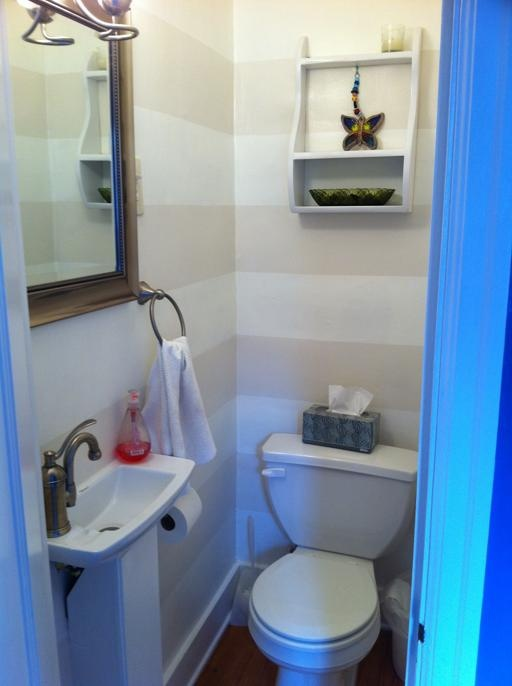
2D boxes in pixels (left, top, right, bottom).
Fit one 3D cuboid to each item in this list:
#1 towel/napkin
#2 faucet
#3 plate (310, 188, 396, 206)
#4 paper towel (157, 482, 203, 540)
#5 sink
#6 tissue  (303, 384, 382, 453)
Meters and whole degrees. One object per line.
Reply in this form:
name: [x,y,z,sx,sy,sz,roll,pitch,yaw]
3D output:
towel/napkin: [-0.188,0.159,1.389,0.085,0.523,0.207,3,9,20]
faucet: [-0.330,0.253,1.015,0.115,0.195,0.058,-22,-24,3]
plate: [0.303,-0.461,1.755,0.259,0.059,0.100,2,14,17]
paper towel: [-0.185,0.437,1.434,0.103,0.147,0.117,6,16,16]
sink: [-0.278,0.336,1.123,0.199,0.152,0.310,6,17,8]
tissue : [0.322,0.200,2.000,0.359,0.201,0.356,4,11,17]
